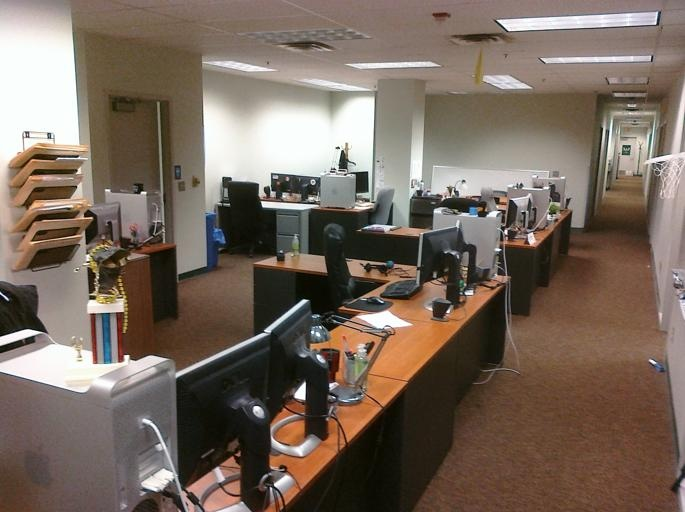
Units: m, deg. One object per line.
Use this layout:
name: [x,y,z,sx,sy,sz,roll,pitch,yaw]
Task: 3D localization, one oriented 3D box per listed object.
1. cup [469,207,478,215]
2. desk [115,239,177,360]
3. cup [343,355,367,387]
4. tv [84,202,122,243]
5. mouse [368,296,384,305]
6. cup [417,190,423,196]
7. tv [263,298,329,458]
cup: [1.207,-0.416,4.711,0.071,0.073,0.069,-1,9,0]
desk: [-1.652,0.360,4.311,0.339,0.826,0.918,0,15,1]
cup: [0.059,0.583,2.634,0.132,0.153,0.136,1,6,0]
tv: [-2.047,-0.279,4.335,0.112,0.322,0.363,6,12,15]
mouse: [0.250,0.333,3.827,0.088,0.030,0.050,-2,8,-1]
cup: [1.444,-1.175,9.530,0.141,0.145,0.096,1,11,9]
tv: [-0.199,0.562,2.223,0.257,0.504,0.523,5,12,17]
